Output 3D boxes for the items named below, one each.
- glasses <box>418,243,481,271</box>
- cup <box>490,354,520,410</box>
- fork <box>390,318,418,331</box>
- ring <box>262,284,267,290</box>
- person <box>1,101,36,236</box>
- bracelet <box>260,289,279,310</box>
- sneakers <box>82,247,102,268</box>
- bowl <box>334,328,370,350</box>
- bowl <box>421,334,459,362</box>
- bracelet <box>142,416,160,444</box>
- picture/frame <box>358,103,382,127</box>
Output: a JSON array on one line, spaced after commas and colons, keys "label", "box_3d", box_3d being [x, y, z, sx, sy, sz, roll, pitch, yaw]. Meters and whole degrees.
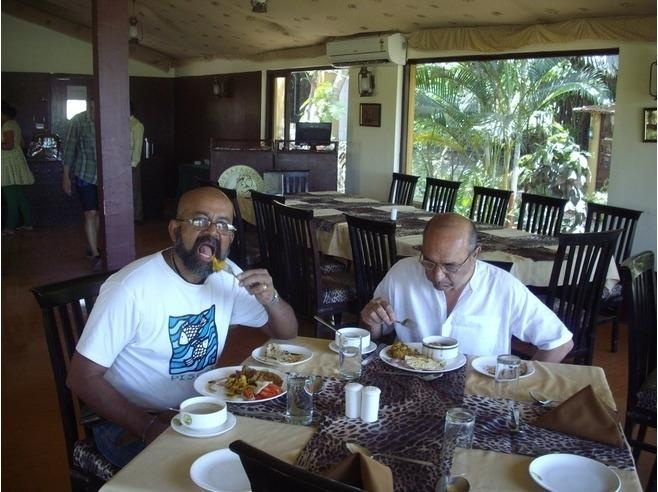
[{"label": "glasses", "box_3d": [0.514, 0.060, 2.081, 0.228, 0.095, 0.092, 3, 13, 5]}, {"label": "cup", "box_3d": [0.600, 0.471, 1.646, 0.093, 0.177, 0.091, -1, 21, 1]}, {"label": "fork", "box_3d": [0.335, 0.348, 2.163, 0.034, 0.050, 0.200, 12, -9, -33]}, {"label": "ring", "box_3d": [-0.269, 0.171, 2.013, 0.018, 0.019, 0.005, 1, -9, -42]}, {"label": "person", "box_3d": [-4.580, -1.078, 7.054, 0.416, 1.906, 0.747, -7, 15, -32]}, {"label": "bracelet", "box_3d": [-0.254, 0.224, 2.103, 0.033, 0.063, 0.077, -35, 57, -22]}, {"label": "sneakers", "box_3d": [-2.888, 0.150, 5.898, 0.104, 0.108, 0.290, -9, 33, -31]}, {"label": "bowl", "box_3d": [0.090, 0.354, 1.872, 0.105, 0.054, 0.101, 3, 6, 0]}, {"label": "bowl", "box_3d": [0.431, 0.392, 1.861, 0.096, 0.063, 0.091, 3, 17, -1]}, {"label": "bracelet", "box_3d": [-0.612, 0.626, 1.662, 0.018, 0.063, 0.061, 19, 40, 26]}, {"label": "picture/frame", "box_3d": [0.610, -1.931, 7.125, 0.029, 0.316, 0.354, -12, 21, -35]}]
